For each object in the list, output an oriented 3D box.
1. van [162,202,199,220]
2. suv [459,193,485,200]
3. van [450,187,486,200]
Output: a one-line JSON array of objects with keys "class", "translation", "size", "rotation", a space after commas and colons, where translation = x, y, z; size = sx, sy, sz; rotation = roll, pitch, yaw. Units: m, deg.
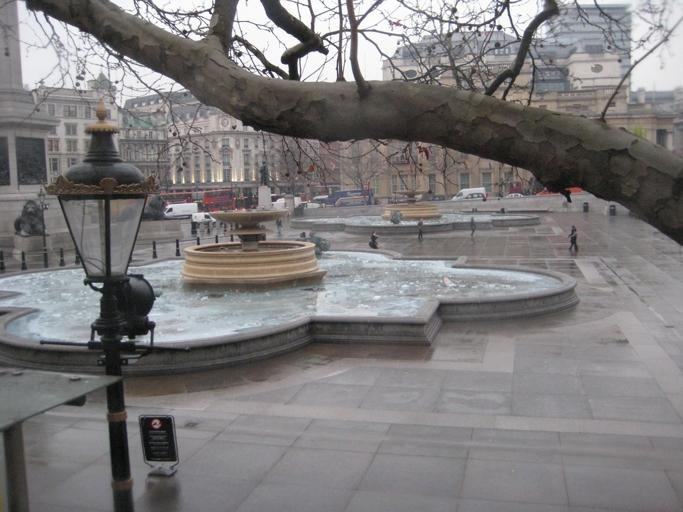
[{"class": "van", "translation": [-18.907, -5.184, 62.852], "size": [3.347, 1.817, 3.813], "rotation": [-4, 8, -22]}, {"class": "suv", "translation": [15.962, -7.109, 64.813], "size": [2.699, 0.956, 5.502], "rotation": [1, 7, 12]}, {"class": "van", "translation": [15.964, -8.171, 67.132], "size": [4.238, 1.864, 2.482], "rotation": [0, 5, 6]}]
